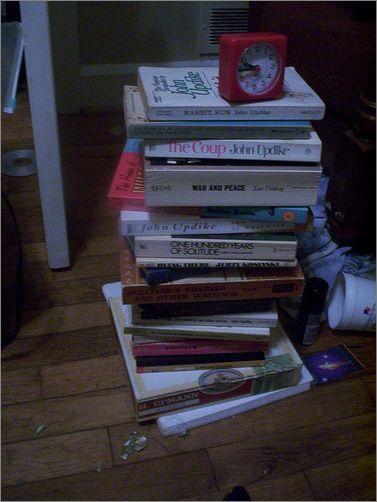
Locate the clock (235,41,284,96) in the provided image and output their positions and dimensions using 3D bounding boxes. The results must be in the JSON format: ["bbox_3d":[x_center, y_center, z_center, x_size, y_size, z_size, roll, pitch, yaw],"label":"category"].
[{"bbox_3d":[0.099,-0.262,0.574,0.067,0.072,0.015,-13,33,-24],"label":"clock"}]

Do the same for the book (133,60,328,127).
[{"bbox_3d":[0.061,-0.271,0.659,0.286,0.046,0.226,-3,42,-4],"label":"book"}]

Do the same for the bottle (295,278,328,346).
[{"bbox_3d":[0.293,0.150,0.958,0.072,0.206,0.066,-2,43,2],"label":"bottle"}]
